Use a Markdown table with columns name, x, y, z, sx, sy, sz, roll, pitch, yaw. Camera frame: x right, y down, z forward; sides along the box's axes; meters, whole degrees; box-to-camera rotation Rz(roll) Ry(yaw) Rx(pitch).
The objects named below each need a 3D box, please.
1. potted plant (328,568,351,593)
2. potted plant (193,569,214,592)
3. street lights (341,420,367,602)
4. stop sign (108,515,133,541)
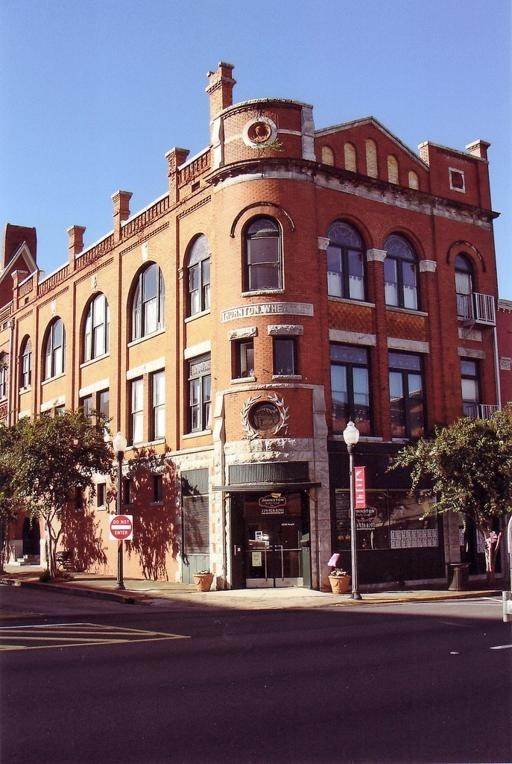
| name | x | y | z | sx | sy | sz | roll | pitch | yaw |
| --- | --- | --- | --- | --- | --- | --- | --- | --- | --- |
| potted plant | 2.402 | 5.689 | 22.216 | 0.653 | 0.605 | 0.681 | 1 | -20 | -7 |
| potted plant | -1.559 | 5.975 | 23.211 | 0.516 | 0.454 | 0.551 | -5 | -25 | 8 |
| street lights | 2.640 | 3.582 | 21.659 | 0.639 | 5.024 | 0.608 | -2 | 1 | -4 |
| stop sign | -3.975 | 4.320 | 23.062 | 0.544 | 0.706 | 0.625 | -1 | -12 | -3 |
